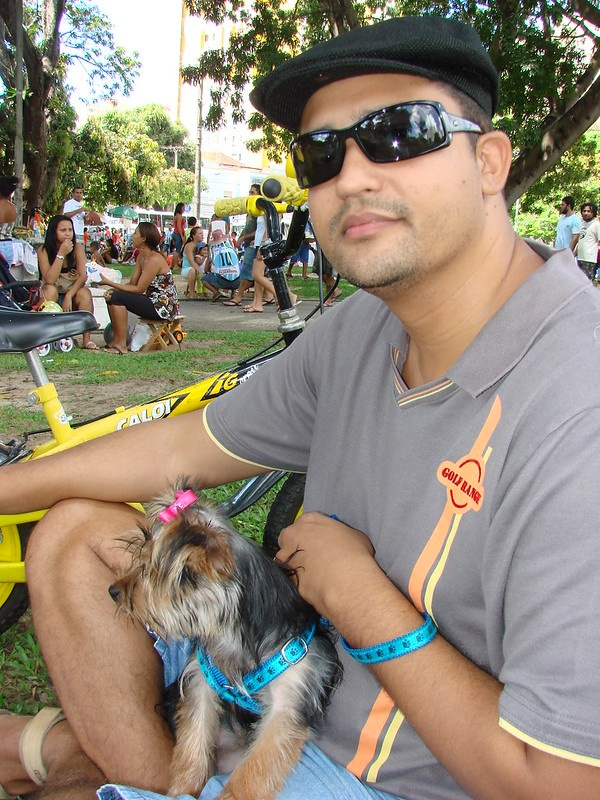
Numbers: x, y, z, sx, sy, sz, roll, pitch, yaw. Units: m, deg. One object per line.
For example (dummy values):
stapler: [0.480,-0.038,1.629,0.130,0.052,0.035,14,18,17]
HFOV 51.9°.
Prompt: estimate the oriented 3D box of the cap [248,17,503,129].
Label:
cap: [0.186,-0.676,1.255,0.397,0.142,0.318,-5,7,-20]

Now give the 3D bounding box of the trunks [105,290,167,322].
trunks: [-2.265,-1.275,8.517,0.499,0.168,0.381,10,33,-11]
